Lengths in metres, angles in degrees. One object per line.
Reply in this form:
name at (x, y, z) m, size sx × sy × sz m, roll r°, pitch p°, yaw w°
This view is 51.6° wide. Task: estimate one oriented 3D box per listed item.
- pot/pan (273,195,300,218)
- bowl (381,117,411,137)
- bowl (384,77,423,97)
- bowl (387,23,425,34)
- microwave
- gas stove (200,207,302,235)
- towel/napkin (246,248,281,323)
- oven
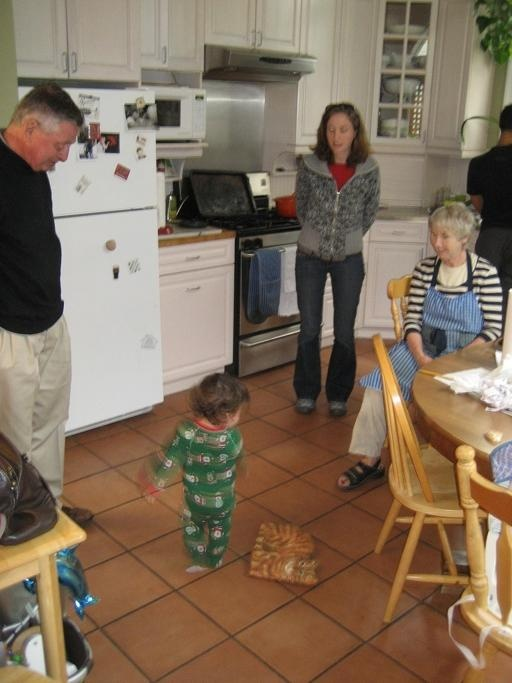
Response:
pot/pan at (0.206, -0.987, 3.810) m, size 0.238 × 0.152 × 0.217 m, roll 3°, pitch 21°, yaw 6°
bowl at (1.110, -1.720, 4.245) m, size 0.167 × 0.099 × 0.151 m, roll -2°, pitch 14°, yaw -15°
bowl at (1.145, -2.004, 4.123) m, size 0.173 × 0.069 × 0.173 m, roll 1°, pitch 9°, yaw 0°
bowl at (1.132, -2.359, 3.986) m, size 0.296 × 0.068 × 0.030 m, roll 3°, pitch 14°, yaw 7°
microwave at (-0.479, -1.358, 3.189) m, size 0.414 × 0.296 × 0.245 m, roll 5°, pitch 15°, yaw 8°
gas stove at (-0.013, -0.787, 3.502) m, size 0.338 × 0.079 × 0.380 m, roll -13°, pitch 24°, yaw -32°
towel/napkin at (0.043, -0.386, 3.409) m, size 0.067 × 0.501 × 0.423 m, roll 9°, pitch 13°, yaw 41°
oven at (-0.070, -0.335, 3.739) m, size 0.617 × 1.021 × 0.692 m, roll -13°, pitch 25°, yaw -38°
